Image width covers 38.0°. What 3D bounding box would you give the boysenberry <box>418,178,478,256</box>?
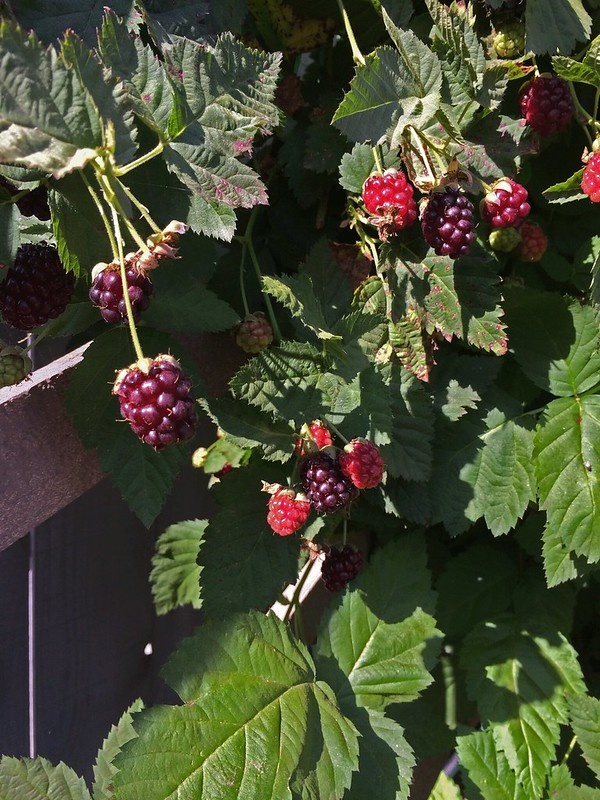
[{"bbox_3d":[0.193,-0.230,1.133,0.074,0.093,0.064,-7,2,17],"label":"boysenberry"}]

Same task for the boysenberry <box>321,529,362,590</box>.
[{"bbox_3d":[0.061,0.238,1.296,0.065,0.086,0.068,-10,-22,37],"label":"boysenberry"}]

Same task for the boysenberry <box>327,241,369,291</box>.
[{"bbox_3d":[0.094,-0.235,1.477,0.057,0.084,0.030,-18,20,20],"label":"boysenberry"}]

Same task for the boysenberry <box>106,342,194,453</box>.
[{"bbox_3d":[-0.153,0.003,0.952,0.079,0.099,0.067,-25,18,-5],"label":"boysenberry"}]

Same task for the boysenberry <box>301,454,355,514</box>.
[{"bbox_3d":[0.051,0.104,1.140,0.085,0.047,0.062,-1,26,41],"label":"boysenberry"}]

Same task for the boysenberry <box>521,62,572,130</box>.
[{"bbox_3d":[0.368,-0.441,1.293,0.099,0.102,0.089,-1,8,13],"label":"boysenberry"}]

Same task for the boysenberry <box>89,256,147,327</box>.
[{"bbox_3d":[-0.202,-0.122,0.975,0.077,0.068,0.097,2,53,-15],"label":"boysenberry"}]

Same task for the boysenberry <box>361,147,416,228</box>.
[{"bbox_3d":[0.123,-0.269,1.176,0.066,0.078,0.061,-20,18,11],"label":"boysenberry"}]

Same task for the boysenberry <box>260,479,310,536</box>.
[{"bbox_3d":[-0.007,0.144,1.147,0.046,0.062,0.042,7,0,34],"label":"boysenberry"}]

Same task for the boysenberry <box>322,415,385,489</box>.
[{"bbox_3d":[0.097,0.068,1.174,0.055,0.055,0.120,-19,31,21],"label":"boysenberry"}]
